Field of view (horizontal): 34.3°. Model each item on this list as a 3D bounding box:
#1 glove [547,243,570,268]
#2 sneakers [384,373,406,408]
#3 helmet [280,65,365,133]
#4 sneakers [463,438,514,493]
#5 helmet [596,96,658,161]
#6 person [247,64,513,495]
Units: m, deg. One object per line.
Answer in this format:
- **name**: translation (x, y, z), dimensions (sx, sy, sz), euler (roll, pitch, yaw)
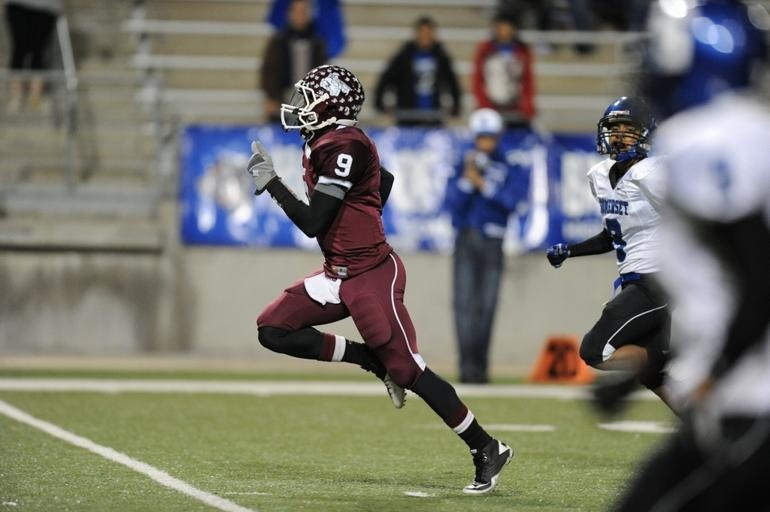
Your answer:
- **glove**: translation (1.134, 0.005, 8.146), dimensions (0.121, 0.165, 0.080), euler (-7, 34, 6)
- **sneakers**: translation (0.056, 0.804, 7.296), dimensions (0.094, 0.236, 0.085), euler (-20, 11, 21)
- **helmet**: translation (-0.362, -0.930, 7.329), dimensions (0.496, 0.387, 0.373), euler (2, 8, -11)
- **sneakers**: translation (0.596, 1.225, 7.202), dimensions (0.299, 0.150, 0.100), euler (-53, 30, -13)
- **helmet**: translation (1.497, -0.802, 7.723), dimensions (0.344, 0.391, 0.480), euler (-2, -3, 39)
- **person**: translation (-0.041, 0.171, 7.293), dimensions (1.438, 2.436, 0.855), euler (5, 23, 21)
